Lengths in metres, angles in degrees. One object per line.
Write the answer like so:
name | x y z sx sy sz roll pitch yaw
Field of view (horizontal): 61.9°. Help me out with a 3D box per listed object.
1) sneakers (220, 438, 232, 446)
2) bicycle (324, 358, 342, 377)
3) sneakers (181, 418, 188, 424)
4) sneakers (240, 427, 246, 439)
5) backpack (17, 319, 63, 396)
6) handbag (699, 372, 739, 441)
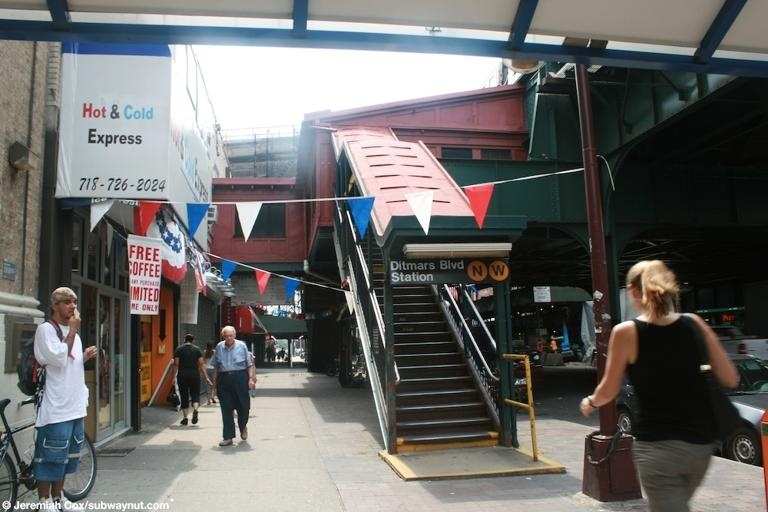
sneakers | -2.973 3.507 12.030 0.216 0.098 0.100 16 -13 -39
bicycle | -2.427 5.168 29.832 0.524 0.755 0.998 -1 -5 -12
sneakers | -4.495 3.728 14.373 0.104 0.198 0.202 1 -19 -1
sneakers | -2.701 3.407 12.282 0.110 0.274 0.189 0 -5 -24
backpack | -4.325 1.362 7.847 0.321 0.719 0.183 -1 -5 -18
handbag | 2.909 1.287 5.570 0.177 0.546 0.409 -8 0 3
